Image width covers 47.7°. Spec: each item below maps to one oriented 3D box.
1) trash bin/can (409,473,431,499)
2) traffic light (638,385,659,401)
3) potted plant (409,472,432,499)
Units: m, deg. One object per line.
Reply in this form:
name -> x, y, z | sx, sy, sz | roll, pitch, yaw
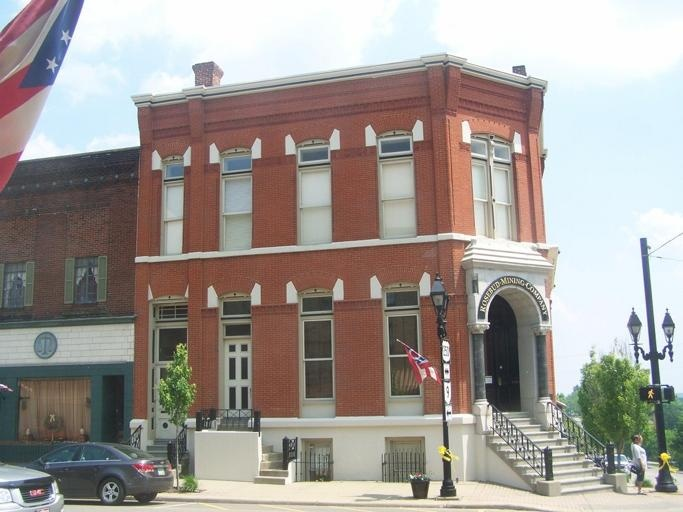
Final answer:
trash bin/can -> 2.413, 7.165, 23.929 | 0.662, 0.714, 0.644 | 0, -25, 3
traffic light -> 10.574, 4.768, 26.655 | 0.348, 0.579, 0.732 | 2, -15, -17
potted plant -> 2.418, 7.166, 23.940 | 0.597, 0.728, 0.683 | 2, -27, -1
